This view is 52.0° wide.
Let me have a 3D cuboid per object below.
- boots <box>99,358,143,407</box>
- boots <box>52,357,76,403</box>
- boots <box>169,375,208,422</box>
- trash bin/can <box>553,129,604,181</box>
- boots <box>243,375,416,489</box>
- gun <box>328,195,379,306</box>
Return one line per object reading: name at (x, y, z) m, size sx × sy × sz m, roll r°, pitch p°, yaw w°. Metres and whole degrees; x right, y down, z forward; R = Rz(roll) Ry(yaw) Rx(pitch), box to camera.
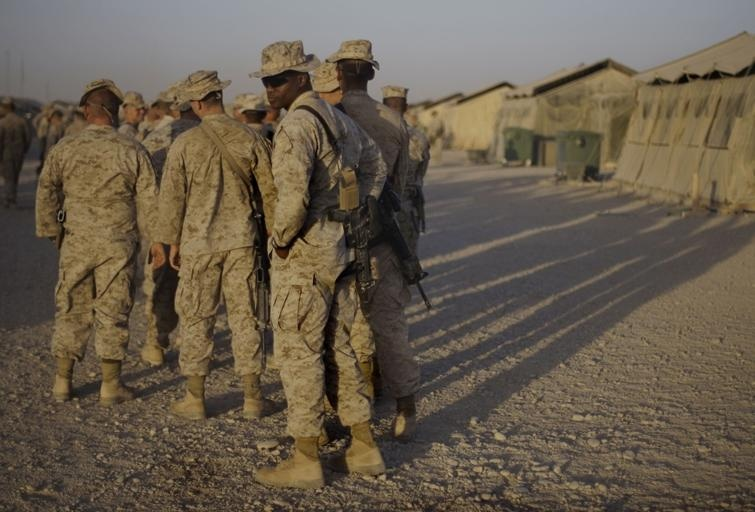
boots at (-2.327, 1.140, 7.010) m, size 0.198 × 0.397 × 0.417 m, roll -3°, pitch -3°, yaw 27°
boots at (-2.844, 1.111, 7.058) m, size 0.171 × 0.399 × 0.407 m, roll 5°, pitch -7°, yaw -17°
boots at (-1.654, 1.222, 6.748) m, size 0.384 × 0.380 × 0.185 m, roll 3°, pitch -1°, yaw 30°
trash bin/can at (5.146, -2.636, 20.566) m, size 1.185 × 1.071 × 0.828 m, roll 15°, pitch -26°, yaw -10°
boots at (-0.396, 1.503, 6.256) m, size 1.214 × 0.738 × 0.419 m, roll -1°, pitch 2°, yaw -11°
gun at (-0.152, -0.119, 5.895) m, size 0.402 × 1.032 × 0.213 m, roll -3°, pitch 9°, yaw -7°
